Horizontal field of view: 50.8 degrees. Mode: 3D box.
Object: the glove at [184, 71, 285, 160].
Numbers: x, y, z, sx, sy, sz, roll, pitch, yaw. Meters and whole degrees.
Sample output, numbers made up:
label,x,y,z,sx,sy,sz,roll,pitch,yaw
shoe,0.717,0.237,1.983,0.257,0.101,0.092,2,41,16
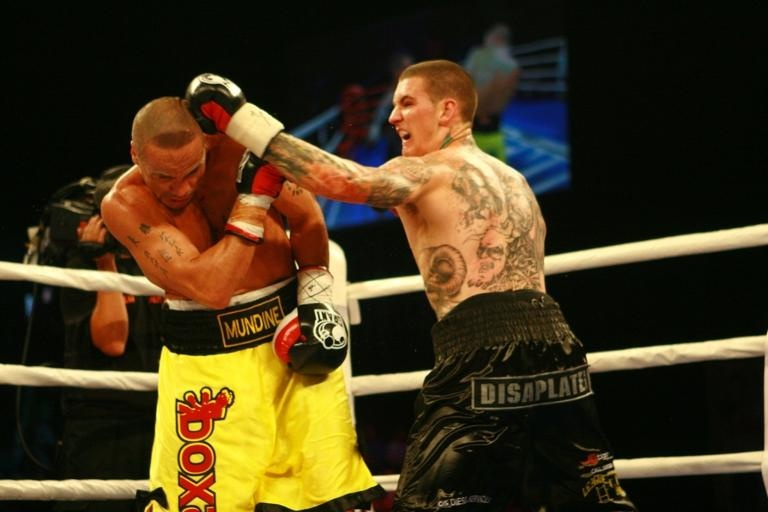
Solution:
label,x,y,z,sx,sy,sz,roll,pitch,yaw
glove,-0.741,-0.683,4.079,0.529,0.321,0.268,27,-21,9
